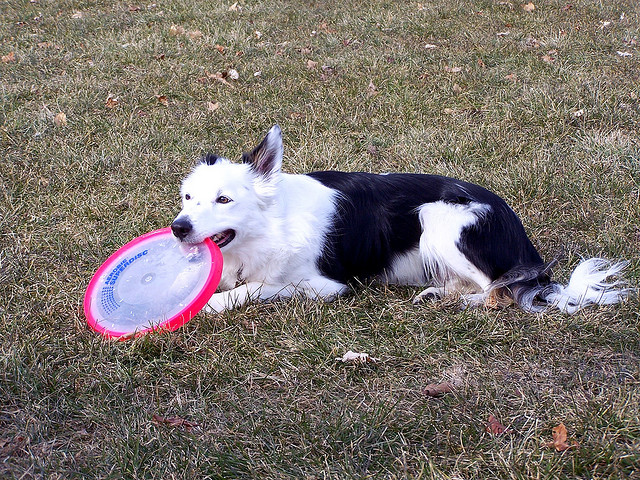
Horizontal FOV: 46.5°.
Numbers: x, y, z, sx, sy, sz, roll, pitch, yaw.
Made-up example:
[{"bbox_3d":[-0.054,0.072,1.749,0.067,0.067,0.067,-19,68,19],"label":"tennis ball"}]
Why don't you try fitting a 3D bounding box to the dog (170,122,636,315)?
[{"bbox_3d":[0.338,-0.098,6.606,4.600,1.524,1.410,1,-4,-1],"label":"dog"}]
